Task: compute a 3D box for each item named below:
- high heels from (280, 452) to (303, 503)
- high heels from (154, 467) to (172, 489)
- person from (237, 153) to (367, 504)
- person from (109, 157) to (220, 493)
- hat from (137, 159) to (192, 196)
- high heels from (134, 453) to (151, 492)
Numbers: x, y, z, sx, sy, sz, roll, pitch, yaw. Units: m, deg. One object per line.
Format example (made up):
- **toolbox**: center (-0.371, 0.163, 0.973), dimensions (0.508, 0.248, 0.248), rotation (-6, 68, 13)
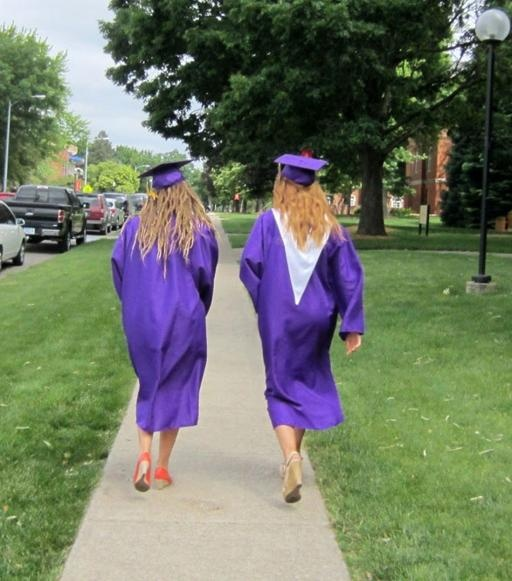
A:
- **high heels**: center (0.175, 0.932, 3.546), dimensions (0.073, 0.289, 0.111), rotation (3, 10, -3)
- **high heels**: center (-0.518, 1.041, 3.937), dimensions (0.047, 0.083, 0.152), rotation (0, -33, 11)
- **person**: center (0.218, 0.125, 3.939), dimensions (0.610, 1.762, 0.823), rotation (5, 8, 41)
- **person**: center (-0.474, 0.138, 3.952), dimensions (0.601, 1.705, 0.606), rotation (-2, 6, -18)
- **hat**: center (-0.518, -0.661, 4.139), dimensions (0.173, 0.117, 0.204), rotation (-24, 9, -3)
- **high heels**: center (-0.564, 0.925, 3.636), dimensions (0.070, 0.243, 0.094), rotation (4, 0, -29)
